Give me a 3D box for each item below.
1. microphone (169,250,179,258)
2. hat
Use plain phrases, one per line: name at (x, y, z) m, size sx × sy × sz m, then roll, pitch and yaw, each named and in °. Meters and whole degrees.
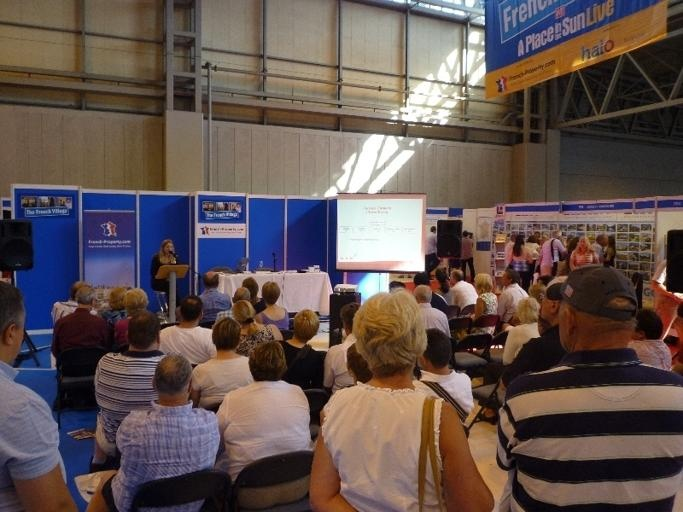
microphone at (-2.638, -0.030, 9.910) m, size 0.084 × 0.073 × 0.278 m, roll -31°, pitch 3°, yaw 2°
hat at (1.258, 0.172, 3.060) m, size 0.218 × 0.146 × 0.321 m, roll 4°, pitch 18°, yaw -6°
